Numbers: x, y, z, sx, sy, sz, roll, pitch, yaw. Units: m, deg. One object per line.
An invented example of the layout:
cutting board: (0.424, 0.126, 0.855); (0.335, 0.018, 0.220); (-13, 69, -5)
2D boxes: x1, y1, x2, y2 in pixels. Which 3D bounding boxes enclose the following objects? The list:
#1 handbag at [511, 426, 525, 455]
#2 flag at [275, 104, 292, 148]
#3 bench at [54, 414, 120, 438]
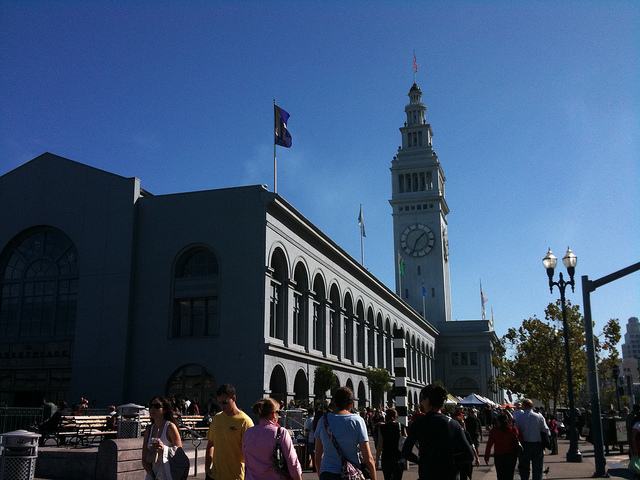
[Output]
handbag: (4.324, 4.423, 12.532); (0.164, 0.562, 0.364); (-13, -21, 32)
flag: (-2.320, -6.982, 36.076); (0.992, 3.638, 3.292); (0, -18, -5)
bench: (-9.306, 7.460, 22.731); (0.989, 0.854, 3.414); (-4, -20, 7)
